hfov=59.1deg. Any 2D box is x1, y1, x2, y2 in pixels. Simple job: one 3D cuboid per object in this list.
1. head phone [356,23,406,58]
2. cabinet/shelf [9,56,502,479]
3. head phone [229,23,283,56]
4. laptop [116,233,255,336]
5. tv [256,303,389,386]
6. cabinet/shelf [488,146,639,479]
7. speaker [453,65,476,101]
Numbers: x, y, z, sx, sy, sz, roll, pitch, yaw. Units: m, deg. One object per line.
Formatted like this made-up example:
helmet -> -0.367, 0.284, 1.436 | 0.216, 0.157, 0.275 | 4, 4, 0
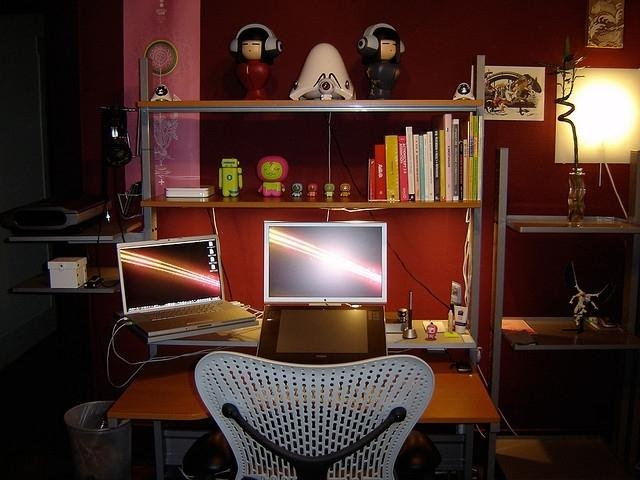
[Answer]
head phone -> 0.310, -1.016, 2.868 | 0.261, 0.172, 0.133 | -10, 22, -37
cabinet/shelf -> -0.239, 0.084, 2.844 | 2.222, 2.681, 0.822 | -1, 0, 0
head phone -> -0.324, -1.014, 2.884 | 0.269, 0.169, 0.112 | 6, 18, 22
laptop -> -0.735, 0.222, 2.837 | 0.594, 0.429, 0.508 | -6, 12, -31
tv -> 0.013, 0.499, 2.803 | 0.591, 0.130, 0.387 | 0, 36, 3
cabinet/shelf -> 1.235, 0.350, 2.968 | 0.863, 1.638, 0.549 | 0, 8, -7
speaker -> 0.722, -0.787, 2.855 | 0.108, 0.255, 0.172 | 1, -10, 8
